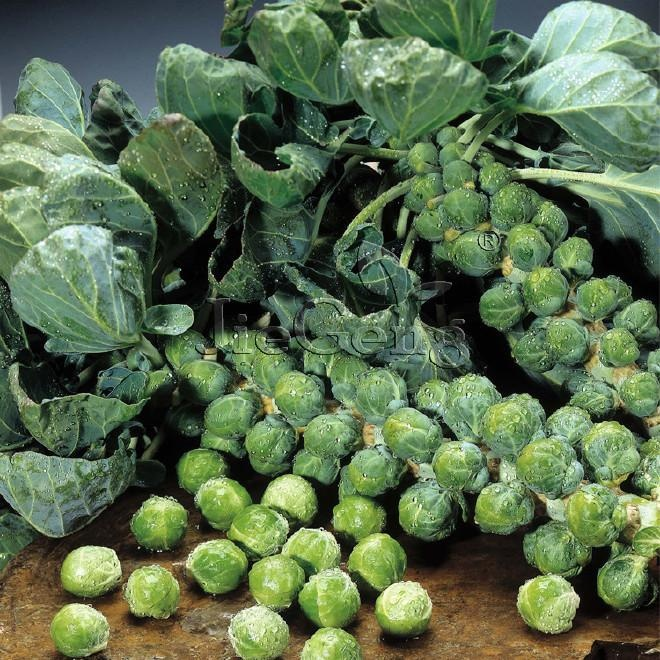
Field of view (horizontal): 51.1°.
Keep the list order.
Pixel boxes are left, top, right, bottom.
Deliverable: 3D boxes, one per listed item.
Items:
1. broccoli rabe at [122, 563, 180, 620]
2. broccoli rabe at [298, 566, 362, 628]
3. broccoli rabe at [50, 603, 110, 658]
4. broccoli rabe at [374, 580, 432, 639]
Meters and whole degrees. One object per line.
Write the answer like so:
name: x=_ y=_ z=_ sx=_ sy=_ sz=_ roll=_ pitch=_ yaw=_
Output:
broccoli rabe: x=-0.255 y=0.377 z=0.989 sx=0.074 sy=0.084 sz=0.066 roll=1 pitch=89 yaw=-1
broccoli rabe: x=-0.002 y=0.377 z=0.967 sx=0.077 sy=0.087 sz=0.068 roll=1 pitch=90 yaw=8
broccoli rabe: x=-0.343 y=0.410 z=0.941 sx=0.064 sy=0.075 sz=0.056 roll=-4 pitch=66 yaw=-20
broccoli rabe: x=0.101 y=0.385 z=0.951 sx=0.072 sy=0.077 sz=0.059 roll=0 pitch=86 yaw=4
